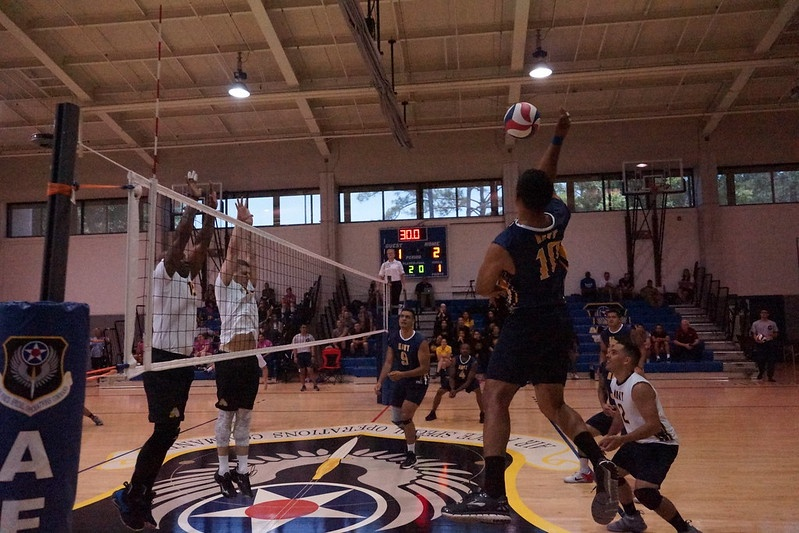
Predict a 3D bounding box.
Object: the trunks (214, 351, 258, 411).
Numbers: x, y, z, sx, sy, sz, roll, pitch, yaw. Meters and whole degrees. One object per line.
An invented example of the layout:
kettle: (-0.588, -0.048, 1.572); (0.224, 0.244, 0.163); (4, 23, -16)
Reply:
trunks: (-2.358, 1.684, 9.830); (0.618, 0.854, 0.496); (0, 6, -20)

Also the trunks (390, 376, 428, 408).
trunks: (0.164, 2.136, 11.177); (0.583, 0.485, 0.511); (0, 5, 3)

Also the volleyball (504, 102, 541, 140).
volleyball: (1.649, -1.973, 8.873); (0.469, 0.472, 0.559); (4, 31, -10)

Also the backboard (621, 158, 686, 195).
backboard: (8.223, -2.978, 21.919); (2.184, 1.198, 1.413); (-1, -1, 14)

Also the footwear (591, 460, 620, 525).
footwear: (2.418, 2.732, 8.080); (0.296, 0.743, 0.361); (-2, -2, 0)

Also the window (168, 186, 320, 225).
window: (-4.872, -1.957, 23.813); (4.780, 1.158, 0.173); (-1, -1, 17)

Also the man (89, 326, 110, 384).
man: (-9.349, 2.820, 20.740); (0.518, 1.341, 0.513); (1, 10, -14)

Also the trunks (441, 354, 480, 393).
trunks: (1.279, 2.336, 13.787); (0.705, 0.910, 0.890); (8, -18, 16)

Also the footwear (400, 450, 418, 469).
footwear: (0.145, 3.093, 10.779); (0.263, 0.216, 0.348); (-1, 5, 1)

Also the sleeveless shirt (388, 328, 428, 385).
sleeveless shirt: (0.194, 1.604, 11.653); (0.507, 0.960, 0.739); (-3, 6, -44)

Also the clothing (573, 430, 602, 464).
clothing: (2.292, 2.198, 8.098); (0.209, 0.359, 0.356); (-5, 7, -38)

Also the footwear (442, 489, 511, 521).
footwear: (0.933, 2.853, 8.003); (0.889, 0.405, 0.323); (5, -20, -1)

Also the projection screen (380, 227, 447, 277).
projection screen: (0.569, -0.439, 21.857); (1.621, 1.277, 0.217); (-1, -7, 1)

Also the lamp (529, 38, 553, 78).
lamp: (3.567, -5.375, 17.053); (0.453, 0.772, 0.437); (-9, 18, -1)

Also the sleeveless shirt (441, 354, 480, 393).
sleeveless shirt: (1.196, 2.265, 13.782); (0.705, 0.910, 0.890); (8, -18, 16)

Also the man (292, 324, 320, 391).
man: (-2.515, 2.450, 17.968); (0.700, 1.829, 0.485); (-5, -7, 4)
